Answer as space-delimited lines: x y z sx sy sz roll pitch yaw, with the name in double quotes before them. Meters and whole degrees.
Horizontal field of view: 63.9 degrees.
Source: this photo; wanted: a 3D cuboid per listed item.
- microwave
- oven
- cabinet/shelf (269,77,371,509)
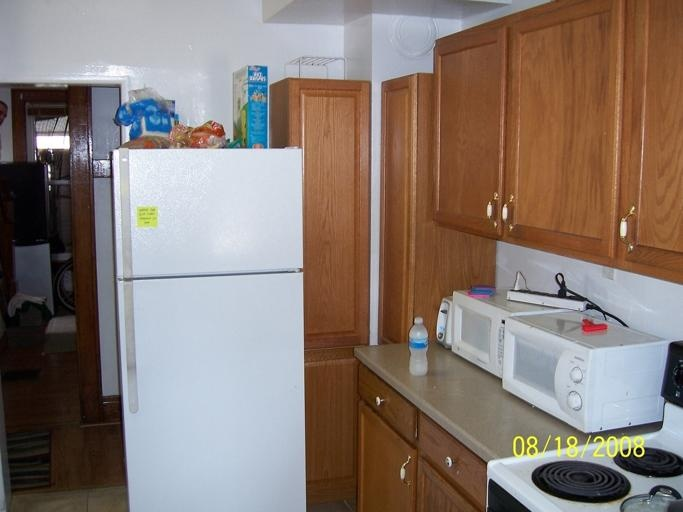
"microwave" 0.800 0.336 2.709 0.333 0.377 0.397 -3 11 -20
"oven" 0.983 0.461 2.275 0.373 0.355 0.536 -2 7 -19
"cabinet/shelf" -0.141 0.250 3.375 0.482 2.496 0.530 -2 6 -17
